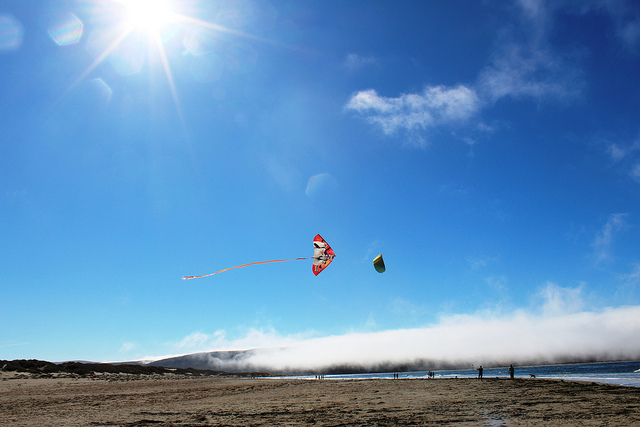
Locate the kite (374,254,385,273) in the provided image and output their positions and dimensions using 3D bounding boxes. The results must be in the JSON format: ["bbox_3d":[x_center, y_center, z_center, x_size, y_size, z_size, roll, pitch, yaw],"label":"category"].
[{"bbox_3d":[5.599,4.737,49.564,0.821,1.645,2.001,-7,-27,5],"label":"kite"}]
